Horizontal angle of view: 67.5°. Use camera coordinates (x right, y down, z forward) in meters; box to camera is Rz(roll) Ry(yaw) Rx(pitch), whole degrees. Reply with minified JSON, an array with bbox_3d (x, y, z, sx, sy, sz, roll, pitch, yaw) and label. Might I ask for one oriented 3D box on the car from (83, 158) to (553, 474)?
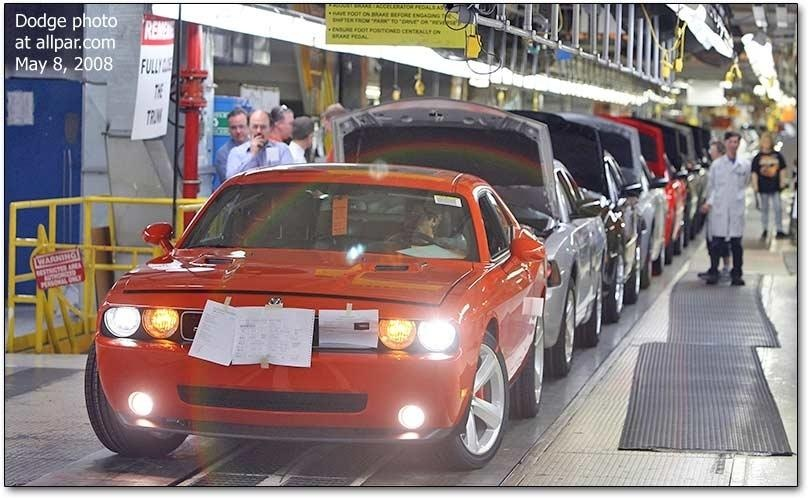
[{"bbox_3d":[-0.337,0.265,5.357,2.235,1.423,3.462,0,-1,9],"label":"car"}]
